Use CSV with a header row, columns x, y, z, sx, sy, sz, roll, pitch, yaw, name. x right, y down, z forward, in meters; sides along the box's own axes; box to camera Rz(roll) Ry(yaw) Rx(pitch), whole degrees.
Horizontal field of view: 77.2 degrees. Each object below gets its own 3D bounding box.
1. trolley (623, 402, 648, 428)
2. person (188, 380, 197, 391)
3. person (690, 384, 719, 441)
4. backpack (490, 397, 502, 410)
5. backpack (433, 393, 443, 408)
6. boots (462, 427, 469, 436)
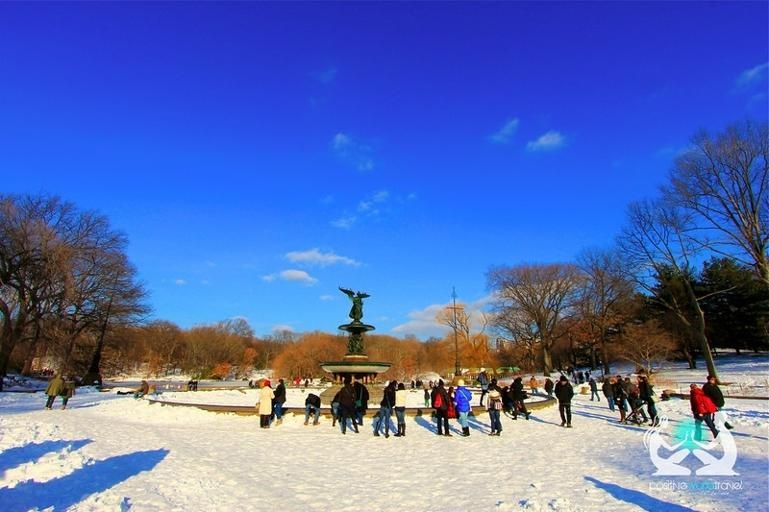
x,y,z,sx,sy,sz,roll,pitch,yaw,name
11.893,7.358,22.634,1.471,0.874,0.892,-5,-9,-19,trolley
-15.134,10.191,37.987,0.587,0.912,1.388,7,-21,-20,person
12.449,6.073,18.859,0.882,2.085,1.339,-12,-23,29,person
4.935,6.495,21.150,0.397,0.461,0.817,-18,-25,39,backpack
2.282,6.188,20.627,0.585,0.769,0.411,2,-22,4,backpack
3.507,7.598,20.773,0.387,0.335,0.332,7,-21,-21,boots
